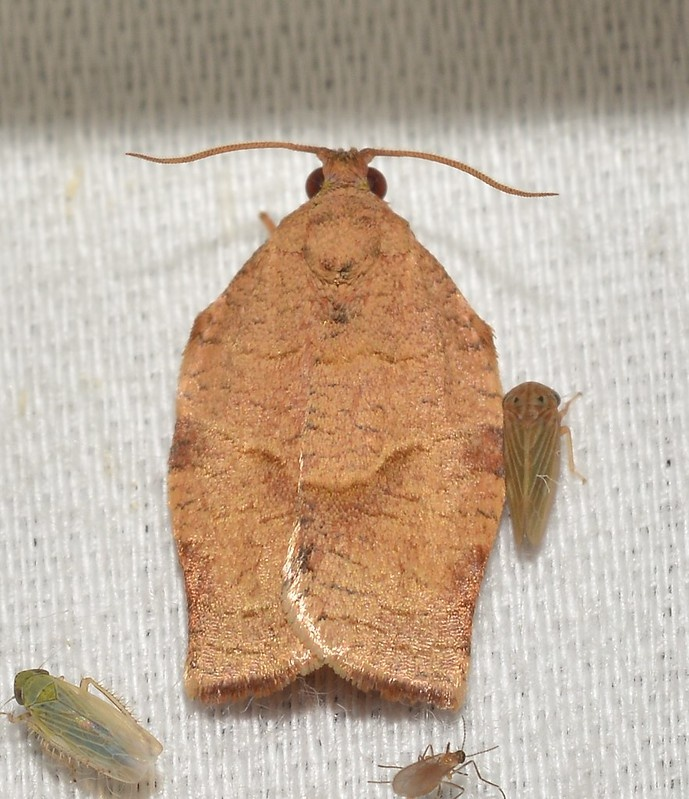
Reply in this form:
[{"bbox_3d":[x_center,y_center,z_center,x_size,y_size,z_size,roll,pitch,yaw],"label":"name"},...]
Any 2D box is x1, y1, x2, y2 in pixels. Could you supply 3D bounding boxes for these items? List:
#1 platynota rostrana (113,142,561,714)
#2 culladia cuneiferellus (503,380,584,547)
[{"bbox_3d":[-0.017,0.128,3.455,0.554,0.263,1.217,0,83,2],"label":"platynota rostrana"},{"bbox_3d":[0.417,0.147,3.371,0.160,0.082,0.348,-1,84,13],"label":"culladia cuneiferellus"}]
